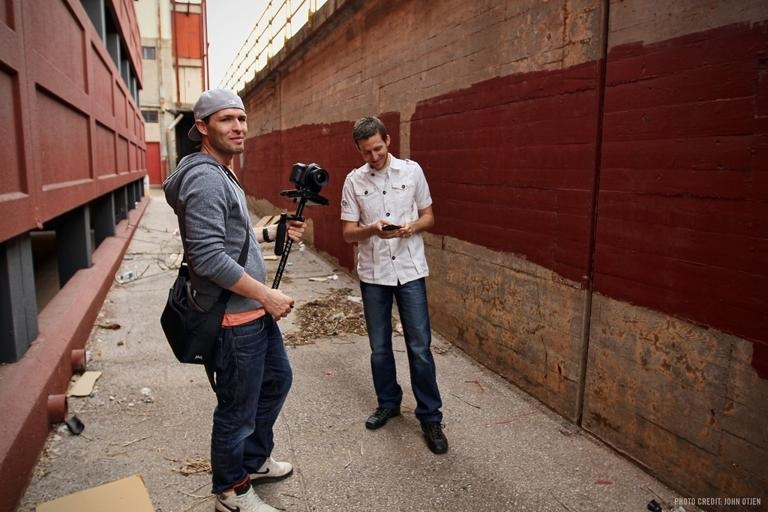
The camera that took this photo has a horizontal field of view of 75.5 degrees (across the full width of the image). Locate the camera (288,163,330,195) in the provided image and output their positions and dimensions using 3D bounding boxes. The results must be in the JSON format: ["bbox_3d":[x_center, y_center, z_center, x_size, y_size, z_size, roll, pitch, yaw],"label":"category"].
[{"bbox_3d":[-0.581,-0.571,3.839,0.244,0.245,0.248,-8,26,-45],"label":"camera"}]

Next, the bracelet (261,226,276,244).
[{"bbox_3d":[-0.858,-0.145,3.675,0.095,0.071,0.127,0,30,-20],"label":"bracelet"}]

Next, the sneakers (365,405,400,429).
[{"bbox_3d":[-0.015,1.418,4.490,0.131,0.148,0.363,14,8,40],"label":"sneakers"}]

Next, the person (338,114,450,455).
[{"bbox_3d":[0.119,0.183,4.291,0.826,2.653,1.105,-4,14,-12],"label":"person"}]

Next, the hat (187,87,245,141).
[{"bbox_3d":[-1.147,-1.008,3.403,0.407,0.207,0.299,-9,6,35],"label":"hat"}]

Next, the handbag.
[{"bbox_3d":[-1.248,0.375,3.262,0.442,0.630,0.255,9,17,33],"label":"handbag"}]

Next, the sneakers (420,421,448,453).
[{"bbox_3d":[0.418,1.504,4.183,0.112,0.145,0.322,-8,9,-11],"label":"sneakers"}]
